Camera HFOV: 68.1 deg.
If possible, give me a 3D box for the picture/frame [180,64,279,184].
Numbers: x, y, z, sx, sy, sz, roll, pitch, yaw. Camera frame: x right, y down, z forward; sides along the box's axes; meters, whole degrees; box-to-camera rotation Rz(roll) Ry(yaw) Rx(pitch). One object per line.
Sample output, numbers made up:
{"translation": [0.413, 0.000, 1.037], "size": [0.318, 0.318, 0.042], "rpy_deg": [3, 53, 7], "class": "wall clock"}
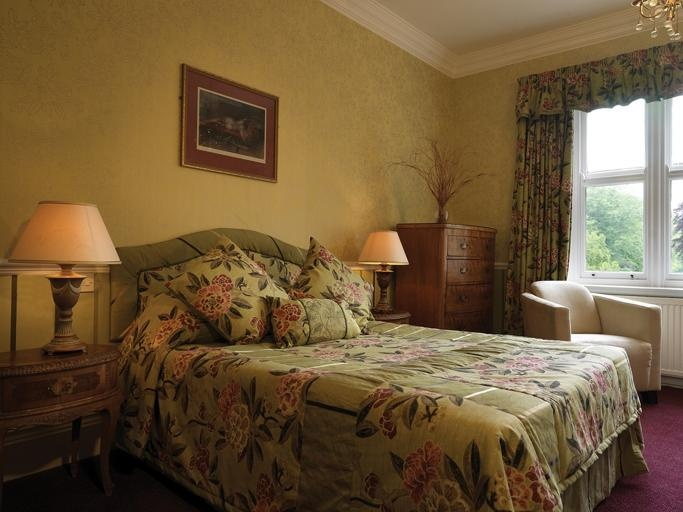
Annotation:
{"translation": [-0.895, -1.024, 3.916], "size": [0.038, 0.876, 0.977], "rpy_deg": [-2, -4, 39], "class": "picture/frame"}
